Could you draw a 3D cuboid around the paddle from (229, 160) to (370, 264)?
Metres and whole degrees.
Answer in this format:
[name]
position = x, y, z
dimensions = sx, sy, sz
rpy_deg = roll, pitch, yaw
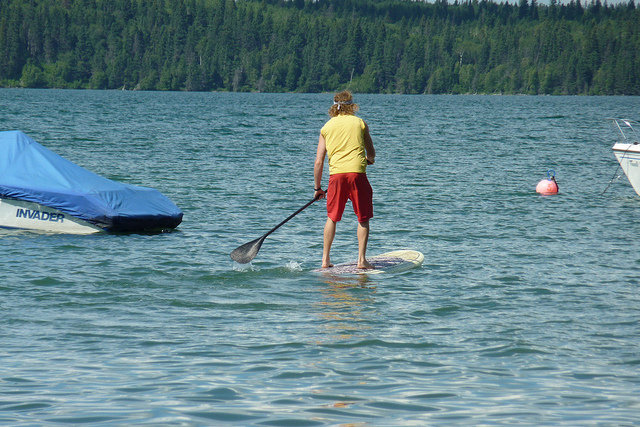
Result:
[paddle]
position = -0.917, 0.174, 33.970
dimensions = 0.348, 0.658, 4.995
rpy_deg = -31, 6, 34

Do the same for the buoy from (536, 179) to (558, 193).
[buoy]
position = 7.476, -0.913, 40.118
dimensions = 0.657, 0.417, 0.475
rpy_deg = 7, -15, 5

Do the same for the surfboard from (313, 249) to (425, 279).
[surfboard]
position = 1.372, 1.529, 32.408
dimensions = 3.276, 0.369, 0.961
rpy_deg = -12, 28, -39
